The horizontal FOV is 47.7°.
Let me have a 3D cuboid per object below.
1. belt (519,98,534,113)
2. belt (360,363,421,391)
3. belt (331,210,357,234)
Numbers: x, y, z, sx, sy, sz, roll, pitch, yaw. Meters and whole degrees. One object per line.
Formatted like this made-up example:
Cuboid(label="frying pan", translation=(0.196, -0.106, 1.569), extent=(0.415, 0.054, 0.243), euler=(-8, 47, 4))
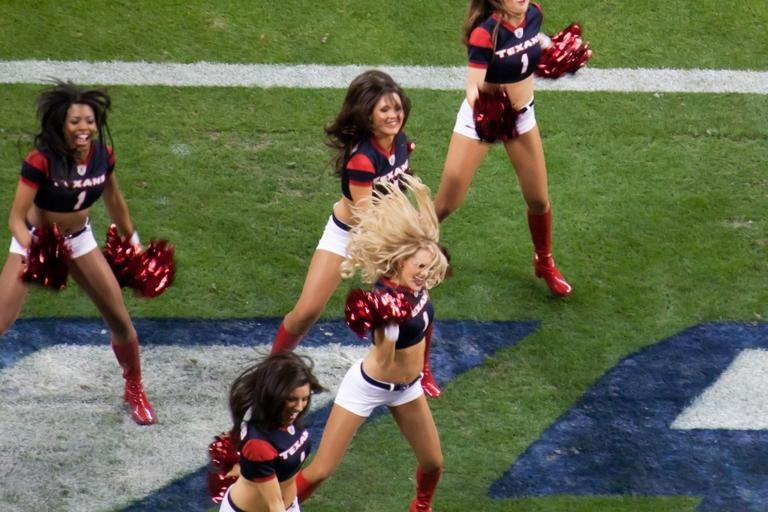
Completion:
Cuboid(label="belt", translation=(1.312, -1.395, 8.077), extent=(0.148, 0.046, 0.111), euler=(-40, 14, -9))
Cuboid(label="belt", translation=(-0.015, 0.954, 6.557), extent=(0.289, 0.062, 0.271), euler=(20, 25, 22))
Cuboid(label="belt", translation=(-0.362, -0.280, 7.322), extent=(0.184, 0.043, 0.183), euler=(33, 11, 5))
